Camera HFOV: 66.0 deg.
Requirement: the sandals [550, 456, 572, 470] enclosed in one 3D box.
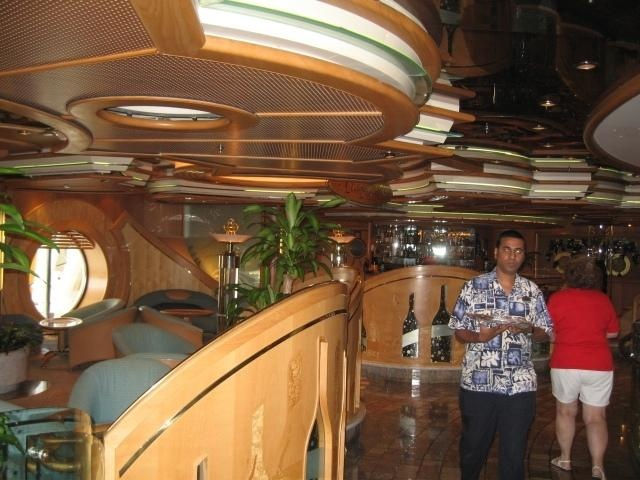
[{"bbox_3d":[2.294,2.123,4.694,0.111,0.054,0.175,-2,5,-22],"label":"sandals"}]
